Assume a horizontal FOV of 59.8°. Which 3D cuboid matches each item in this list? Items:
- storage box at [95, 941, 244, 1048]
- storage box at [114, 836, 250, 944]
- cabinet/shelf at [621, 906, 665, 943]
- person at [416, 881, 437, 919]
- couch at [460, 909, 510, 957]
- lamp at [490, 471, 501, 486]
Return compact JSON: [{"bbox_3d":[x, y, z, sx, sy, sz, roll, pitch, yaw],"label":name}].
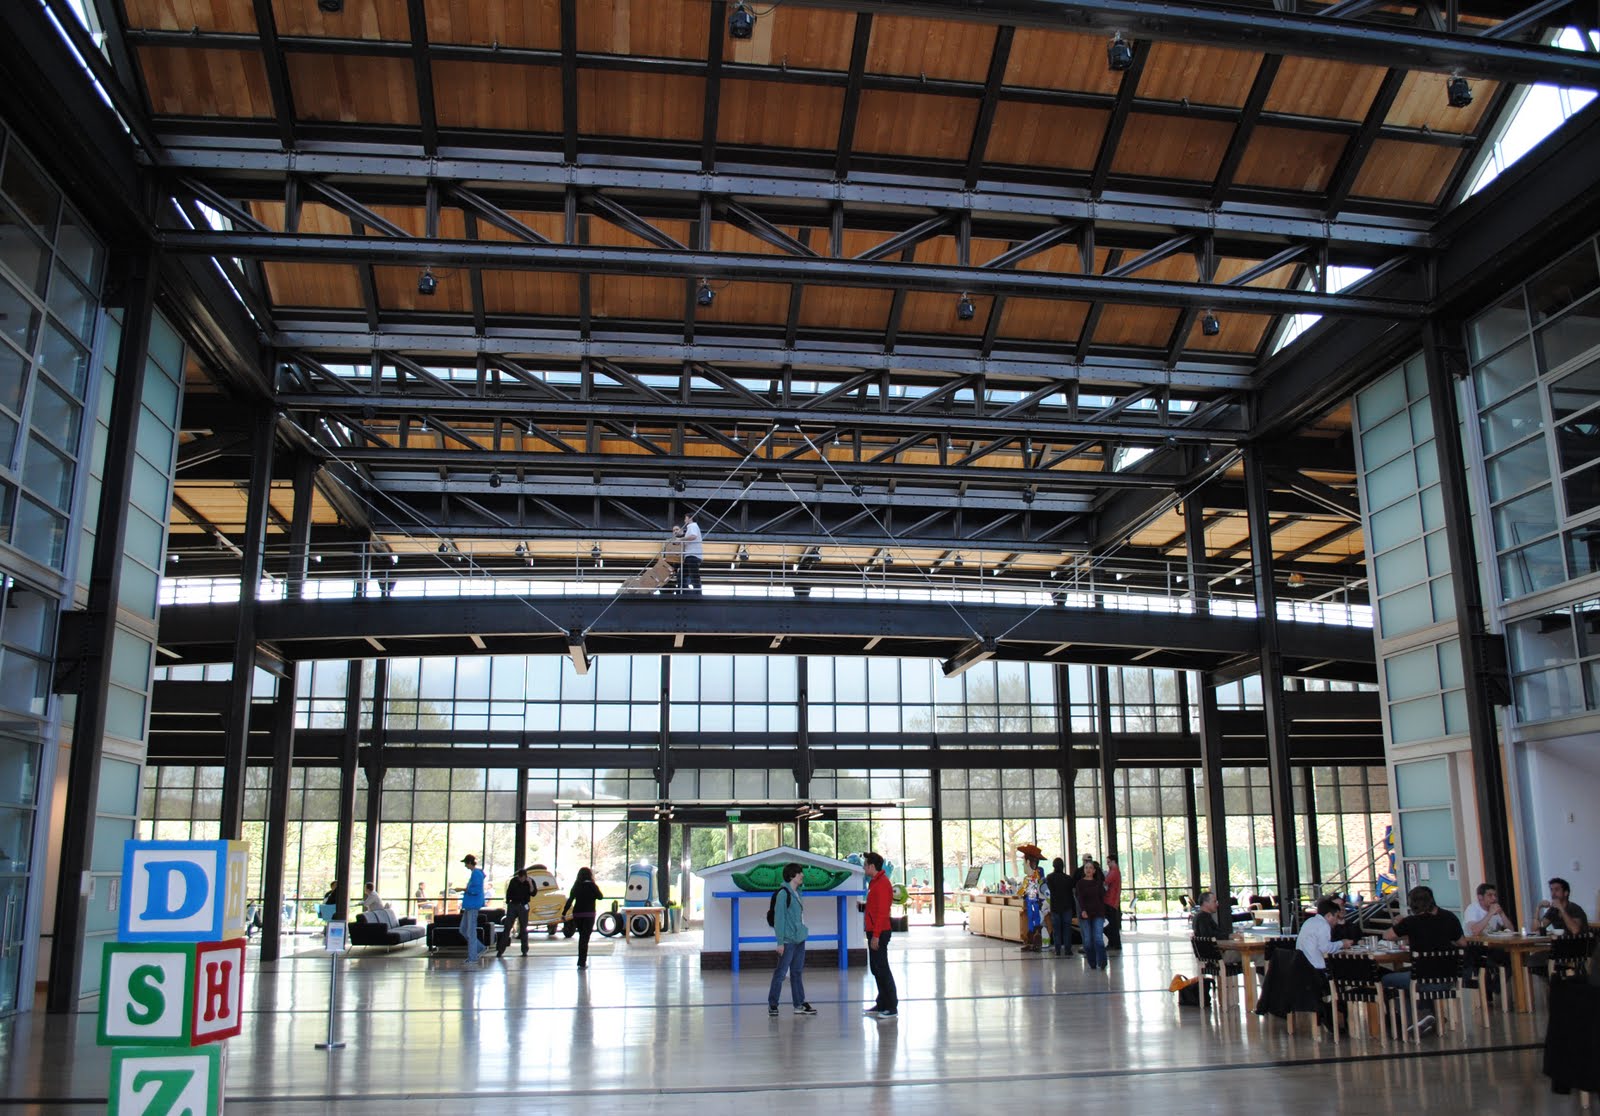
[{"bbox_3d":[-6.797,4.546,15.129,1.373,1.159,1.329,-2,-8,14],"label":"storage box"},{"bbox_3d":[-6.829,3.541,15.173,1.335,1.069,1.221,2,-12,-9],"label":"storage box"},{"bbox_3d":[-4.628,10.575,40.591,0.981,0.760,2.068,2,-21,-5],"label":"cabinet/shelf"},{"bbox_3d":[-12.088,10.793,44.390,0.628,1.176,1.300,5,-20,-15],"label":"person"},{"bbox_3d":[-7.681,8.644,32.430,1.513,1.170,1.358,1,-5,-7],"label":"couch"},{"bbox_3d":[-7.799,-2.016,35.153,0.304,0.389,0.450,3,11,7],"label":"lamp"}]
